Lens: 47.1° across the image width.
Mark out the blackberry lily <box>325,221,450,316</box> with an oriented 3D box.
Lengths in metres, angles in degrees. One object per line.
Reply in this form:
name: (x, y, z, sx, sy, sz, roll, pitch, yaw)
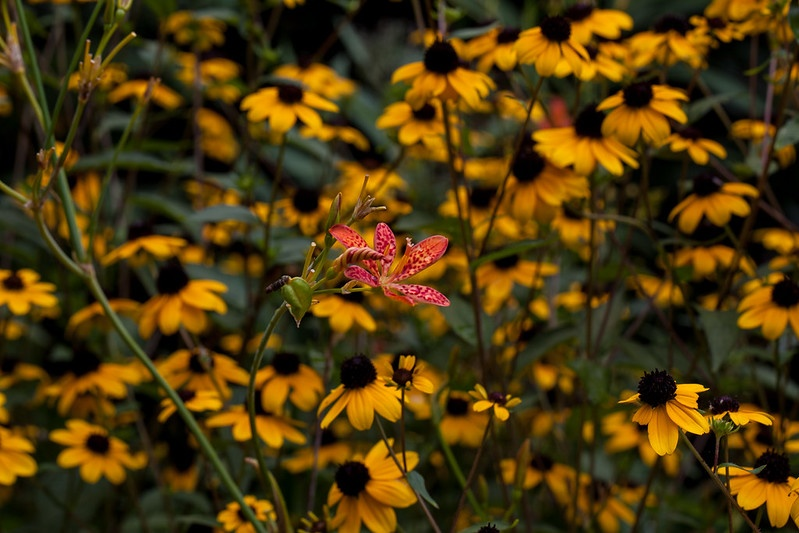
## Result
blackberry lily: (-0.024, -0.002, 1.718, 0.164, 0.075, 0.177, 18, 33, -22)
